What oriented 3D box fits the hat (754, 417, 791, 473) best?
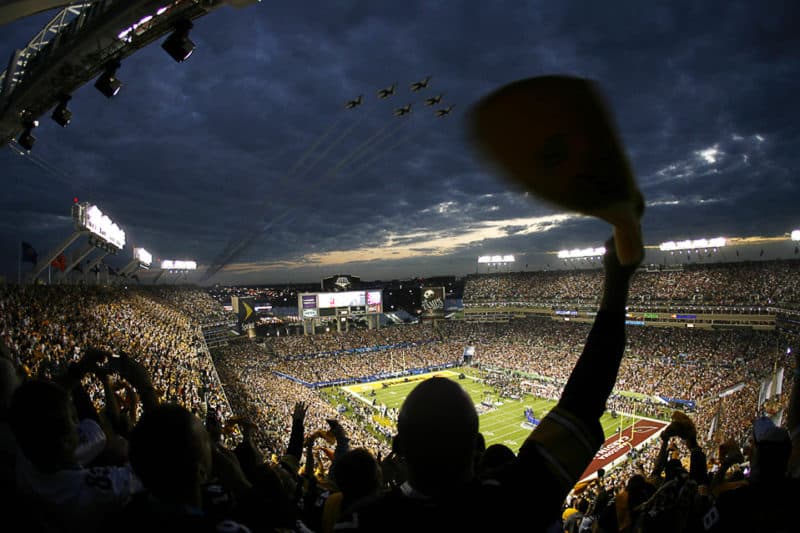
[{"bbox_3d":[4.307,2.054,5.258,0.327,0.539,0.282,2,-5,39],"label":"hat"}]
